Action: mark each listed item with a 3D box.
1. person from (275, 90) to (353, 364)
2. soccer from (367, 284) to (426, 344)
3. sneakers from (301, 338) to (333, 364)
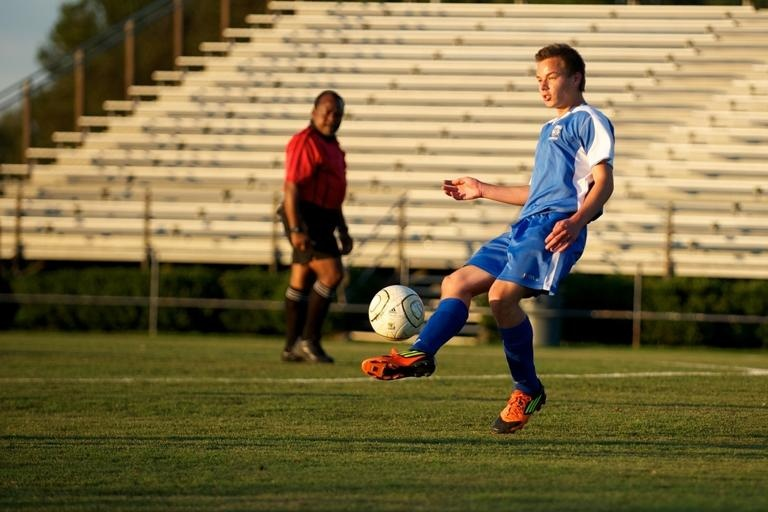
[{"bbox_3d":[-1.043,-0.457,26.742,0.932,3.951,0.708,2,-5,-2],"label":"person"},{"bbox_3d":[0.061,0.712,24.841,0.747,0.716,0.754,10,0,-39],"label":"soccer"},{"bbox_3d":[-1.019,1.369,26.902,0.597,0.239,0.234,8,0,18],"label":"sneakers"}]
